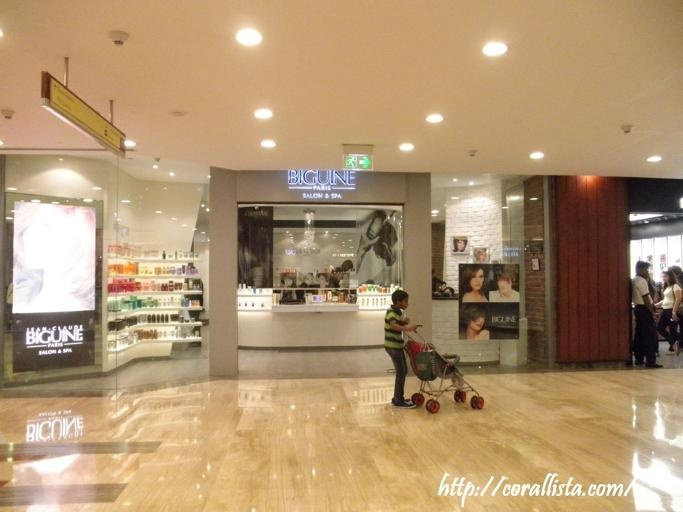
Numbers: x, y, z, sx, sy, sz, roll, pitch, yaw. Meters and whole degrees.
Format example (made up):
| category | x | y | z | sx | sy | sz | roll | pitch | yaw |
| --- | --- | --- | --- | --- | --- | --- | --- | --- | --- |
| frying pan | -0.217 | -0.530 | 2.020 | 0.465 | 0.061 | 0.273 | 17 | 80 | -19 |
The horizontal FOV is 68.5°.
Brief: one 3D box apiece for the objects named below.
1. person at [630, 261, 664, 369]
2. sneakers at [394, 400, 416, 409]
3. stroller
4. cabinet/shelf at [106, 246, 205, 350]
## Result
| category | x | y | z | sx | sy | sz | roll | pitch | yaw |
| --- | --- | --- | --- | --- | --- | --- | --- | --- | --- |
| person | 6.110 | 1.142 | 10.058 | 0.504 | 2.116 | 0.490 | -1 | -2 | 32 |
| sneakers | 0.916 | 2.136 | 7.267 | 0.319 | 0.128 | 0.120 | 0 | -7 | 3 |
| stroller | 1.494 | 1.703 | 7.367 | 0.947 | 1.035 | 0.675 | 0 | -5 | -14 |
| cabinet/shelf | -3.473 | 0.767 | 9.138 | 1.894 | 1.904 | 0.974 | 0 | -1 | -19 |
